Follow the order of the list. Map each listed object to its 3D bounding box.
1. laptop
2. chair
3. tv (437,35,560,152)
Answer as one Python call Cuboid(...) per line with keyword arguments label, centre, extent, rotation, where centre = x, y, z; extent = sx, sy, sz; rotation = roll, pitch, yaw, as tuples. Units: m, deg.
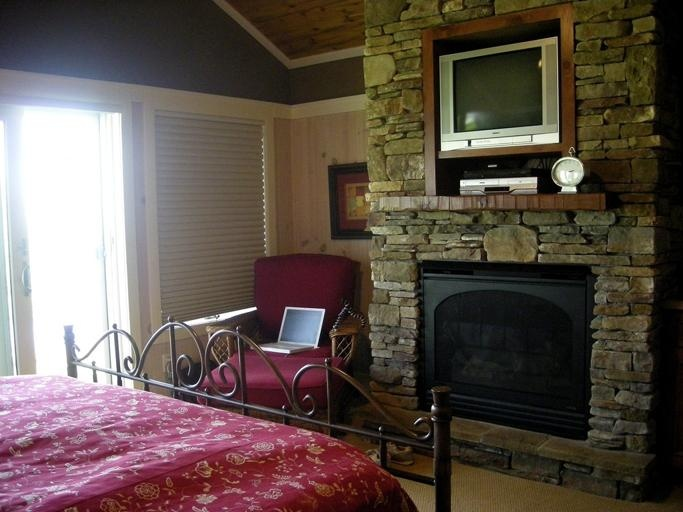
Cuboid(label="laptop", centre=(-0.398, 0.544, 4.005), extent=(0.511, 0.265, 0.456), rotation=(-3, 1, -30))
Cuboid(label="chair", centre=(-0.387, 0.622, 3.907), extent=(1.019, 1.198, 1.176), rotation=(-1, 4, 23))
Cuboid(label="tv", centre=(1.056, -0.972, 3.390), extent=(0.786, 0.612, 0.424), rotation=(6, 17, 40))
